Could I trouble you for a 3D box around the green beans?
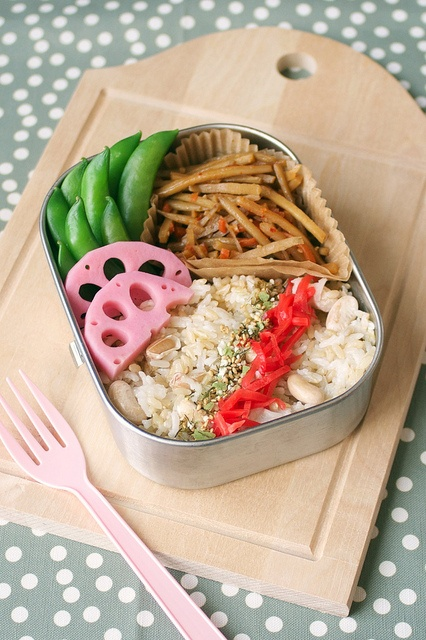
[{"bbox_3d":[-0.192,-0.209,1.133,0.231,0.080,0.324,-4,65,12],"label":"green beans"}]
